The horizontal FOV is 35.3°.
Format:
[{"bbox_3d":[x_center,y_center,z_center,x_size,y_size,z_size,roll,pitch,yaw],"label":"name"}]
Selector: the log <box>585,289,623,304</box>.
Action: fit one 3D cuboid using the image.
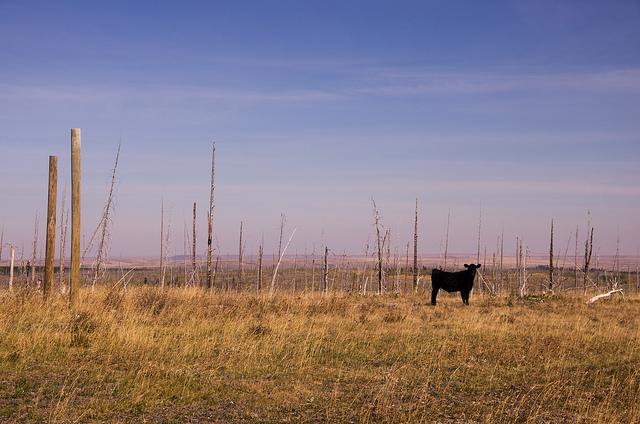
[{"bbox_3d":[16.662,4.802,58.943,3.277,0.801,0.265,-10,28,-39],"label":"log"}]
